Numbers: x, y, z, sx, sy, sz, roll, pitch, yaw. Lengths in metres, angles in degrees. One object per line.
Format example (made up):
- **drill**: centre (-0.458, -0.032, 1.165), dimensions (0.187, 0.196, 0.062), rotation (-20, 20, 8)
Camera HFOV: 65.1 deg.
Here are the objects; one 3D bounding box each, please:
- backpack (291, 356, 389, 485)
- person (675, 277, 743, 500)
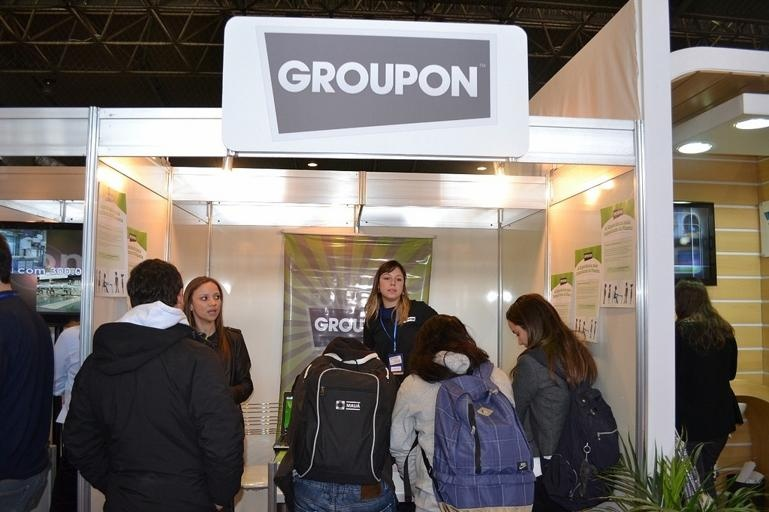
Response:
- **backpack**: centre (-0.262, 1.026, 3.623), dimensions (0.685, 0.813, 0.410), rotation (1, -5, 0)
- **person**: centre (2.415, 0.903, 4.624), dimensions (0.573, 1.427, 0.312), rotation (4, -9, -32)
